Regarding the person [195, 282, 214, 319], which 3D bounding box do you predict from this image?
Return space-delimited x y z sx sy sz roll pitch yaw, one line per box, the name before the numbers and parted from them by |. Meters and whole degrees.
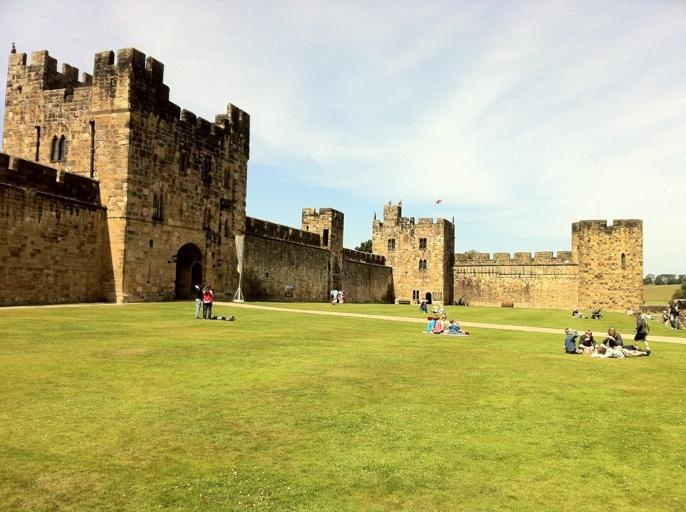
person | -5.009 1.517 20.897 0.558 1.371 2.035 0 9 -15
